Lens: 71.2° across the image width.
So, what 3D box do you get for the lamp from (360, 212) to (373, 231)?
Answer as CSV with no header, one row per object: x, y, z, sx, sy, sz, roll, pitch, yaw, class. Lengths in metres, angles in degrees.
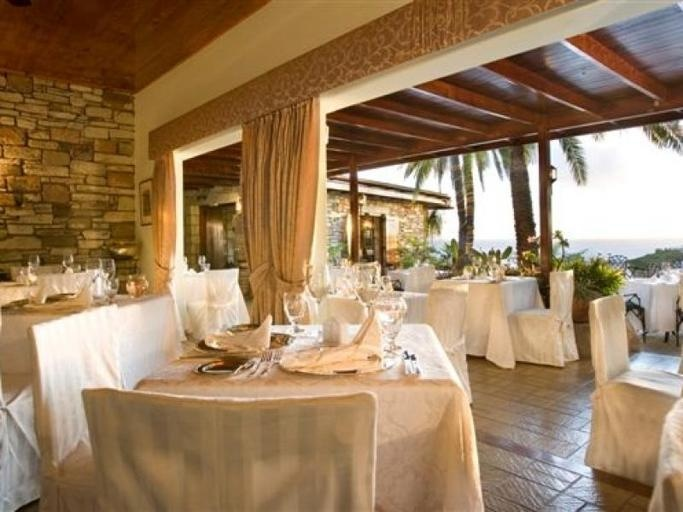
0.702,-0.962,13.057,0.156,0.442,0.479,16,12,41,lamp
